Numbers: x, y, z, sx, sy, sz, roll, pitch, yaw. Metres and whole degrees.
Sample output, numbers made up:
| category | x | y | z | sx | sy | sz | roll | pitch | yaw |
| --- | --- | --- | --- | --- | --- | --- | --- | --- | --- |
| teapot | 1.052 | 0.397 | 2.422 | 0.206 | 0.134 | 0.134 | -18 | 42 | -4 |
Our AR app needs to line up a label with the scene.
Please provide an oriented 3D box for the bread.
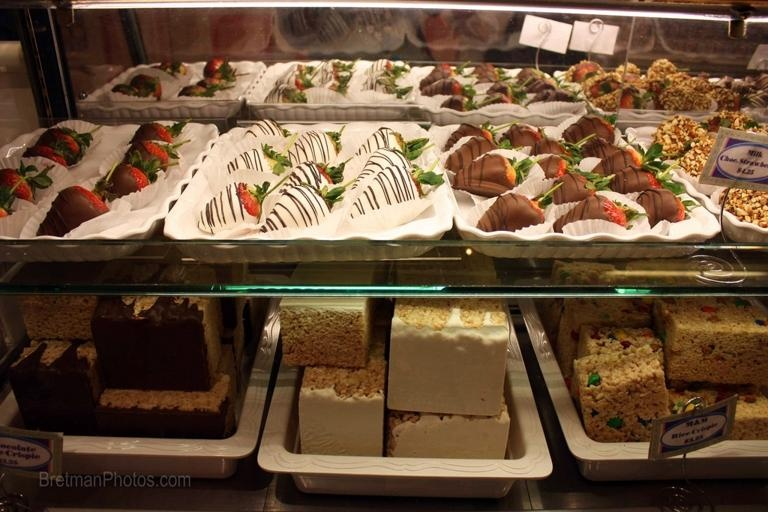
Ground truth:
| category | x | y | z | sx | sy | sz | roll | pitch | yaw |
| --- | --- | --- | --- | --- | --- | --- | --- | --- | --- |
| bread | -0.395 | 0.245 | 1.441 | 1.291 | 0.676 | 0.252 | 0 | 34 | 1 |
